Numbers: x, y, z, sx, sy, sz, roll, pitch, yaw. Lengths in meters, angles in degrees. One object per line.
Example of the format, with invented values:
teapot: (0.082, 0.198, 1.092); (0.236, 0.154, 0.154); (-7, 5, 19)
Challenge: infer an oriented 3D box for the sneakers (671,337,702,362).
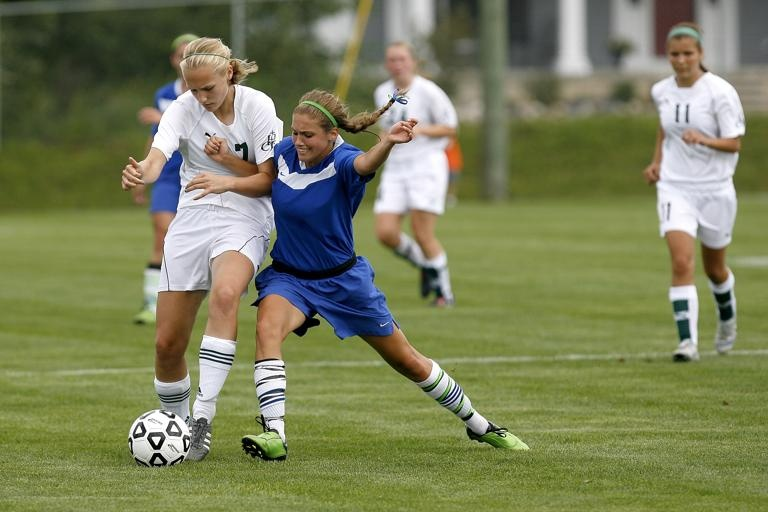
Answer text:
sneakers: (2.447, 0.761, 10.608); (0.164, 0.178, 0.422); (-3, -9, 15)

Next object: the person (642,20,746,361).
person: (2.495, -0.404, 10.609); (0.776, 2.432, 0.854); (2, 15, 13)

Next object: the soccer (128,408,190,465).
soccer: (-1.519, 1.261, 8.985); (0.439, 0.381, 0.390); (-1, 11, 1)

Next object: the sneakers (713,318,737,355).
sneakers: (2.825, 0.624, 10.812); (0.104, 0.222, 0.101); (2, -34, 35)

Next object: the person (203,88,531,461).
person: (-0.211, 0.105, 9.026); (1.422, 2.408, 0.887); (-3, 15, -5)

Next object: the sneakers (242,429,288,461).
sneakers: (-0.790, 1.300, 8.879); (0.381, 0.132, 0.193); (21, 31, -29)

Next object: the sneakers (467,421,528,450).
sneakers: (0.795, 1.244, 9.183); (0.456, 0.156, 0.170); (16, -5, 3)
